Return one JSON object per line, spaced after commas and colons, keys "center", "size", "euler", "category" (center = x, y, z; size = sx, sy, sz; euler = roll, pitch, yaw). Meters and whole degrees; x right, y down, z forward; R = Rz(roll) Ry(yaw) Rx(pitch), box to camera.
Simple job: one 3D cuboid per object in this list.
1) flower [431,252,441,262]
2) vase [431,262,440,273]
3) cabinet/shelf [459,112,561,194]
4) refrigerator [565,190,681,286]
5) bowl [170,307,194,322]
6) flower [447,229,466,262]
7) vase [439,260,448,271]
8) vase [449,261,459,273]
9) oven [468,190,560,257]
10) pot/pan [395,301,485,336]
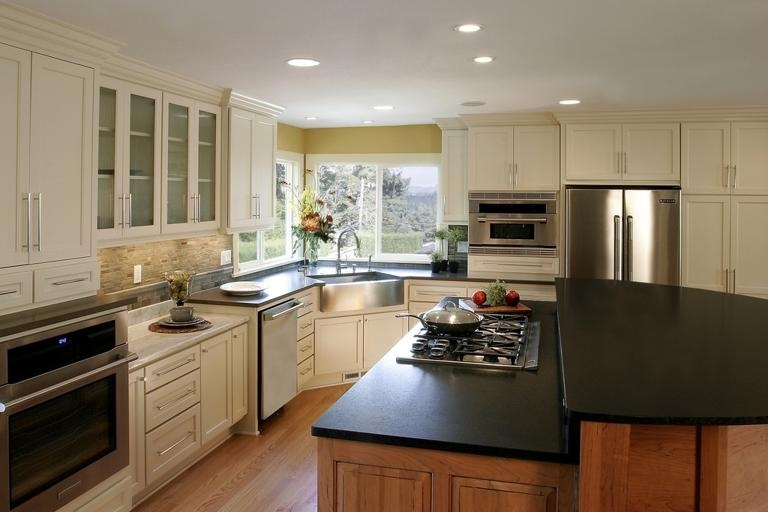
{"center": [0.611, 0.015, 6.149], "size": [0.099, 0.099, 0.101], "euler": [1, -1, -16], "category": "flower"}
{"center": [0.600, 0.128, 6.080], "size": [0.112, 0.131, 0.118], "euler": [5, 11, 14], "category": "vase"}
{"center": [1.419, -1.124, 5.656], "size": [0.888, 0.702, 0.340], "euler": [0, 0, 14], "category": "cabinet/shelf"}
{"center": [2.483, -0.201, 5.305], "size": [1.025, 1.439, 0.571], "euler": [0, -1, 11], "category": "refrigerator"}
{"center": [-1.569, 0.453, 4.040], "size": [0.118, 0.077, 0.133], "euler": [3, 8, 14], "category": "bowl"}
{"center": [0.888, -0.145, 6.305], "size": [0.245, 0.417, 0.228], "euler": [3, 11, 7], "category": "flower"}
{"center": [0.704, 0.114, 6.127], "size": [0.109, 0.080, 0.109], "euler": [2, 9, 12], "category": "vase"}
{"center": [0.820, 0.137, 6.143], "size": [0.123, 0.093, 0.112], "euler": [-1, 0, 0], "category": "vase"}
{"center": [1.347, -0.361, 5.976], "size": [1.103, 0.673, 0.576], "euler": [0, 1, -19], "category": "oven"}
{"center": [0.405, 0.360, 3.236], "size": [0.378, 0.124, 0.235], "euler": [2, 4, 9], "category": "pot/pan"}
